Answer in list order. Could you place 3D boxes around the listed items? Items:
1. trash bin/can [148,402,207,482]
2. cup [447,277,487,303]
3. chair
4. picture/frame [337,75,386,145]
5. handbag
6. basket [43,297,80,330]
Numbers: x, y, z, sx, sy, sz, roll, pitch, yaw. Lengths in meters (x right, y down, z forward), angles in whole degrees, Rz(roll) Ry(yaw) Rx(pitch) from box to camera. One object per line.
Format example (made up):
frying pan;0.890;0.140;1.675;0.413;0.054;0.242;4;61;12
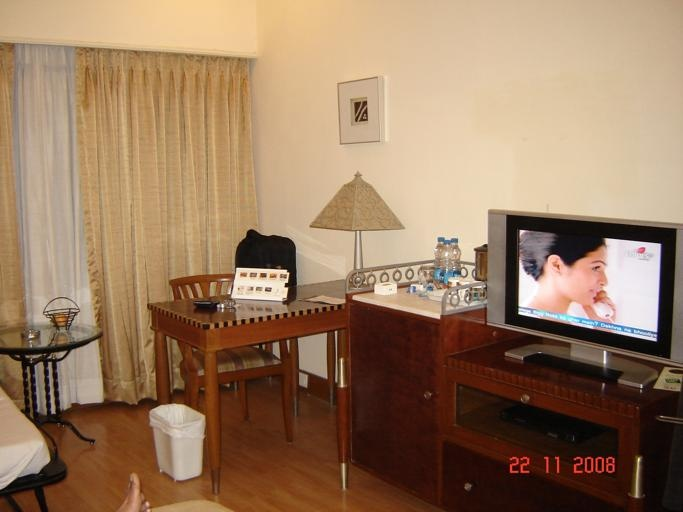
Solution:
trash bin/can;-0.975;1.132;3.450;0.272;0.352;0.387;1;0;-41
cup;0.622;0.157;2.918;0.140;0.092;0.140;-1;6;0
chair;-0.771;0.541;3.748;0.701;1.046;0.634;-21;-19;36
picture/frame;0.144;-1.000;4.021;0.430;0.435;0.051;8;15;43
handbag;-0.604;-0.024;4.584;0.516;0.723;0.390;0;-1;-16
basket;-1.900;0.389;3.922;0.208;0.202;0.209;-6;9;-42
